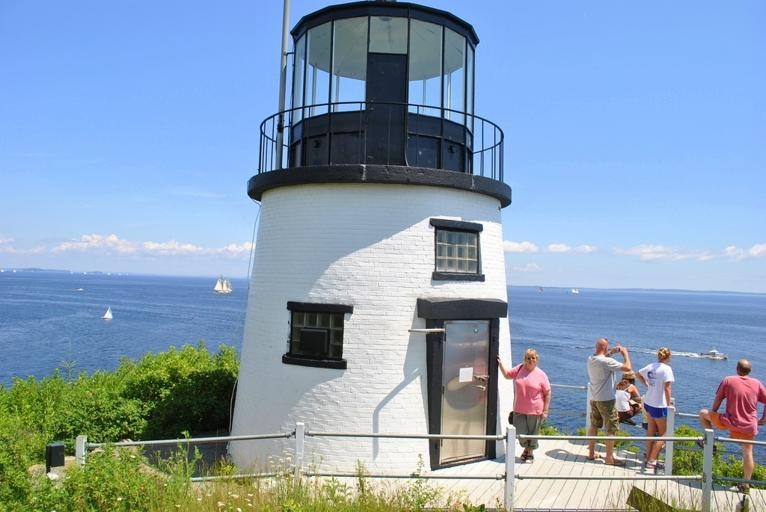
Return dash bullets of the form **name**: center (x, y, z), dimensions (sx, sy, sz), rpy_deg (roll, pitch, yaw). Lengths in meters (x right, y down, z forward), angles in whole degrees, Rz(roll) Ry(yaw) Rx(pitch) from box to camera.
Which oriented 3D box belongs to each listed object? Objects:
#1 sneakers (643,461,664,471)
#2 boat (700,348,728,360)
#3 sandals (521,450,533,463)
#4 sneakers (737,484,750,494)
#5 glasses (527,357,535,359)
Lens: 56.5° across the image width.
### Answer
- **sneakers**: center (7.086, 5.445, 18.671), dimensions (0.579, 0.240, 0.205), rpy_deg (1, 3, -12)
- **boat**: center (33.311, 10.001, 71.623), dimensions (1.589, 0.939, 2.247), rpy_deg (4, 5, 36)
- **sandals**: center (3.883, 5.405, 19.275), dimensions (0.273, 0.201, 0.699), rpy_deg (-1, -4, 5)
- **sneakers**: center (8.729, 5.599, 17.224), dimensions (0.233, 0.196, 0.232), rpy_deg (2, -4, 20)
- **glasses**: center (3.846, 2.624, 18.448), dimensions (0.161, 0.064, 0.044), rpy_deg (4, -4, -20)
